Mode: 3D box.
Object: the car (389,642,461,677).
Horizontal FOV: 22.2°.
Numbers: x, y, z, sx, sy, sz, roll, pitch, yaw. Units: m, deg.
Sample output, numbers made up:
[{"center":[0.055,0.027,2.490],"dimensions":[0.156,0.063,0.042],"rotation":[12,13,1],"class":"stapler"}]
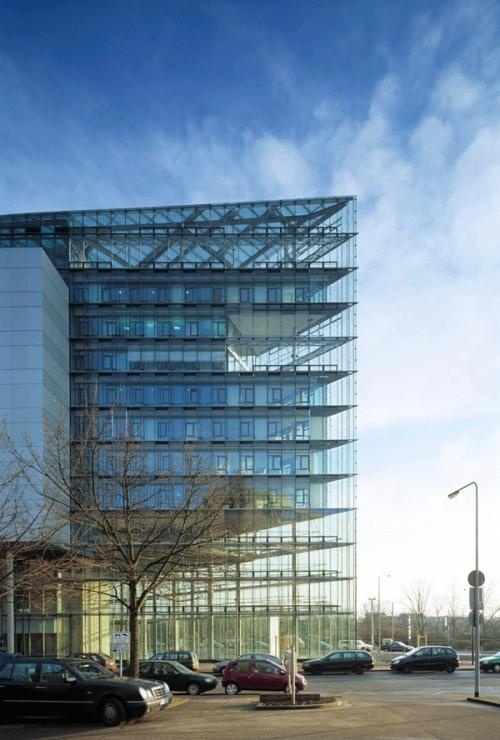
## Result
[{"center":[8.055,13.386,58.324],"dimensions":[2.377,1.110,1.384],"rotation":[3,-13,0],"class":"car"}]
